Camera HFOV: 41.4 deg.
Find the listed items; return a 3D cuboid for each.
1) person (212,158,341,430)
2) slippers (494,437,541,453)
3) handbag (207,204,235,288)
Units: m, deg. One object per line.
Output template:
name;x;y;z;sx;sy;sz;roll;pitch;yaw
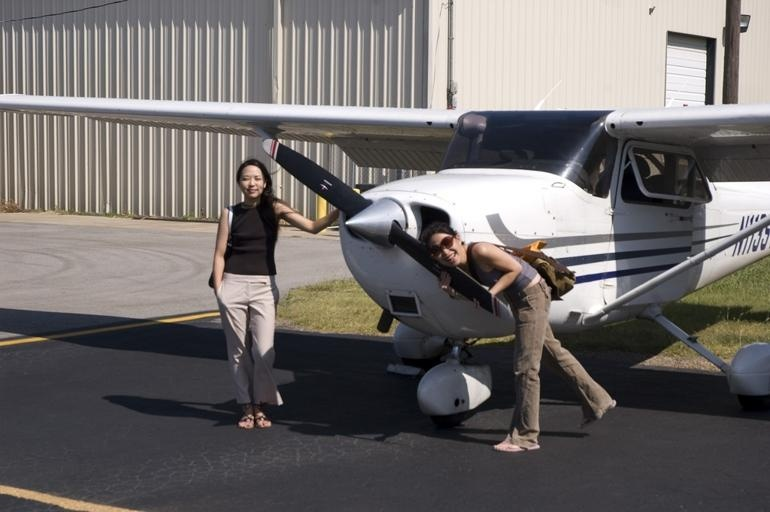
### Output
person;-1.370;0.384;10.818;0.930;2.750;0.973;6;17;19
slippers;1.326;1.923;10.350;0.375;0.139;0.176;2;-10;2
handbag;-1.730;-0.070;10.749;0.231;0.711;0.435;9;23;-5
